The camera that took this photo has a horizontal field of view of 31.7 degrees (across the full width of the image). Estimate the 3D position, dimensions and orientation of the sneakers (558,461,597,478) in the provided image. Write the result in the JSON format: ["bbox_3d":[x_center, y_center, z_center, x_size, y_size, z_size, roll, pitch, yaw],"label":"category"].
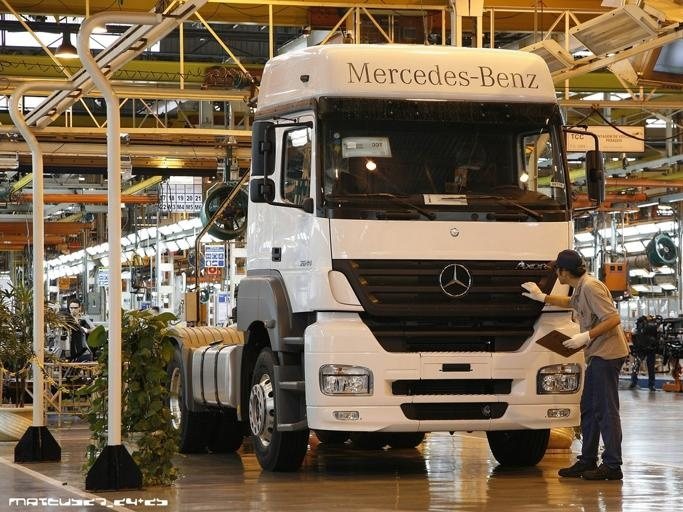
[{"bbox_3d":[2.921,2.642,14.890,0.491,0.182,0.187,1,-6,-9],"label":"sneakers"}]

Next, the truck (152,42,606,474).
[{"bbox_3d":[-0.173,0.444,18.552,4.564,5.030,8.964,0,-5,-19],"label":"truck"}]

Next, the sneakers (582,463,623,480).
[{"bbox_3d":[3.221,2.665,14.793,0.532,0.224,0.186,4,-6,-2],"label":"sneakers"}]

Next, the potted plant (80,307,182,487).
[{"bbox_3d":[-2.621,1.667,14.649,1.287,2.308,1.324,-17,-19,32],"label":"potted plant"}]

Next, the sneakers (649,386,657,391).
[{"bbox_3d":[7.946,3.365,30.539,0.133,0.117,0.197,2,-13,-11],"label":"sneakers"}]

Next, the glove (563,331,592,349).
[{"bbox_3d":[2.863,1.025,14.482,0.284,0.097,0.200,-21,-6,-37],"label":"glove"}]

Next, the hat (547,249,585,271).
[{"bbox_3d":[2.755,0.072,14.518,0.397,0.285,0.269,-3,3,9],"label":"hat"}]

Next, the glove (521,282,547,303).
[{"bbox_3d":[2.348,0.445,14.584,0.279,0.258,0.190,-4,3,5],"label":"glove"}]

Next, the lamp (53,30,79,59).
[{"bbox_3d":[-5.628,-4.319,24.477,0.379,0.742,1.771,-5,3,-13],"label":"lamp"}]
